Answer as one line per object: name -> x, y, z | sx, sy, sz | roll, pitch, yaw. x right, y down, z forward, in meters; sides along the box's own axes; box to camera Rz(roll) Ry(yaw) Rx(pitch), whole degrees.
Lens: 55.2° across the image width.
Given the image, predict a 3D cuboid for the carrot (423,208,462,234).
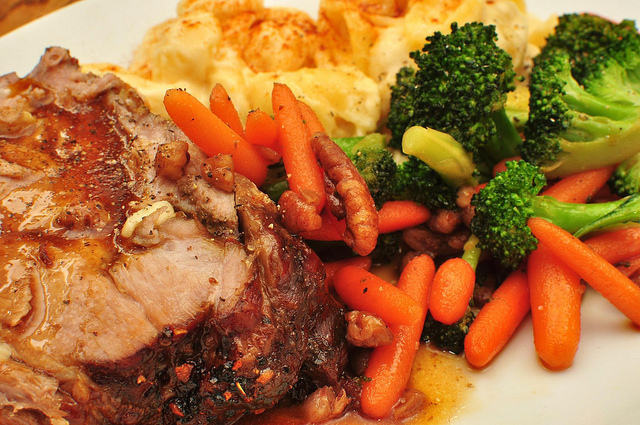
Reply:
carrot -> 1.099, 0.085, 5.417 | 0.191, 0.253, 0.100 | -12, 36, 41
